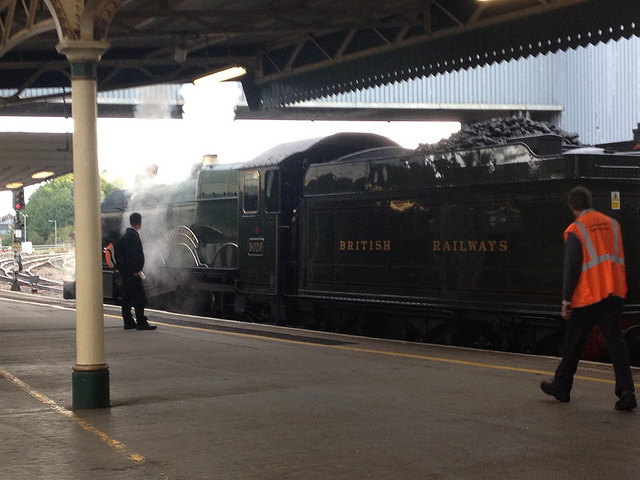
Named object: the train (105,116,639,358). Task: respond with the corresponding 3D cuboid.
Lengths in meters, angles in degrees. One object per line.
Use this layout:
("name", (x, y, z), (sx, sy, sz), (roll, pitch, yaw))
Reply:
("train", (-0.837, -0.314, 16.798), (2.689, 4.820, 17.141), (-4, 6, -44))

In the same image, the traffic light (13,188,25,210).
("traffic light", (-12.558, -1.719, 28.322), (0.383, 0.898, 0.902), (-2, 5, -30))

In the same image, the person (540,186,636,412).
("person", (3.145, 0.655, 7.879), (0.937, 2.523, 0.626), (1, 4, 21))
